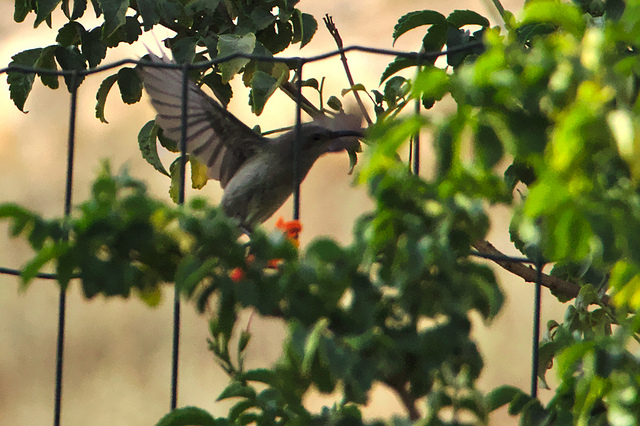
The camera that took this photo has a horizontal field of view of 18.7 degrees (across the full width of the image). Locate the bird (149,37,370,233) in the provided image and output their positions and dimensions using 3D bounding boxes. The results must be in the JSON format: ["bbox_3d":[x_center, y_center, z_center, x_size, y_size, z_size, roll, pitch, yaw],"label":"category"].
[{"bbox_3d":[-0.096,-0.070,3.122,0.346,0.285,0.359,1,-13,1],"label":"bird"}]
